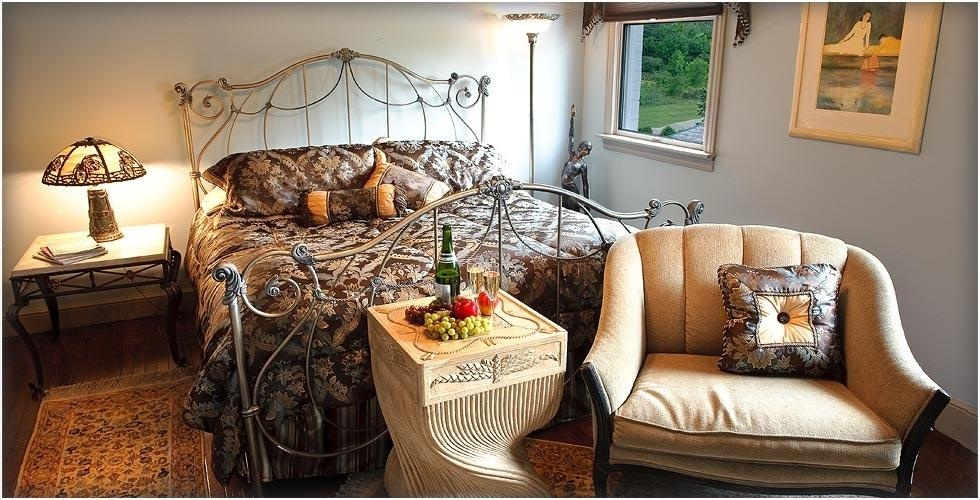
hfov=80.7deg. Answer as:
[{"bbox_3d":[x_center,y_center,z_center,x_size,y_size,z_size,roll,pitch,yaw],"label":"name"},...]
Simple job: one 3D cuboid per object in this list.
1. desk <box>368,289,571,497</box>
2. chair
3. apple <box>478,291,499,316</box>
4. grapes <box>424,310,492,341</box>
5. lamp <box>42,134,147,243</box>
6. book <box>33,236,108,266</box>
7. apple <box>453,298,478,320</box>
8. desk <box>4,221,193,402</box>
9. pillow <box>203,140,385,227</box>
[{"bbox_3d":[-0.117,0.902,3.350,1.076,1.158,0.541,-4,16,-11],"label":"desk"},{"bbox_3d":[1.477,0.699,3.609,2.213,1.544,1.569,1,25,7],"label":"chair"},{"bbox_3d":[-0.015,0.311,3.339,0.147,0.119,0.128,6,0,-3],"label":"apple"},{"bbox_3d":[-0.178,0.411,3.201,0.282,0.098,0.164,-5,22,-22],"label":"grapes"},{"bbox_3d":[-2.890,-0.442,4.253,0.577,0.757,0.285,1,16,6],"label":"lamp"},{"bbox_3d":[-2.961,0.015,4.087,0.267,0.069,0.283,-10,20,-36],"label":"book"},{"bbox_3d":[-0.145,0.320,3.251,0.138,0.114,0.119,-9,21,-3],"label":"apple"},{"bbox_3d":[-2.962,0.511,4.626,1.574,1.063,1.322,-9,25,-25],"label":"desk"},{"bbox_3d":[-1.557,-0.557,4.421,1.219,0.570,0.294,-4,-17,-5],"label":"pillow"}]
